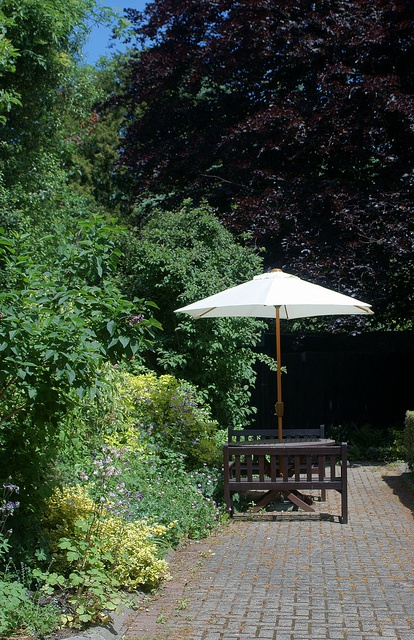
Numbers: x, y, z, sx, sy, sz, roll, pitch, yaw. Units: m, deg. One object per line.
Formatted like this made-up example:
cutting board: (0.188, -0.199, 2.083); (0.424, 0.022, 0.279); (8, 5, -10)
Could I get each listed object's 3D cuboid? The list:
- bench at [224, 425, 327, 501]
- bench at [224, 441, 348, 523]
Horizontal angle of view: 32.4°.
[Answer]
bench: (0.888, 1.567, 8.689); (1.284, 0.711, 0.450); (2, -32, -4)
bench: (0.838, 1.710, 8.000); (1.317, 0.867, 1.555); (1, -2, 1)
